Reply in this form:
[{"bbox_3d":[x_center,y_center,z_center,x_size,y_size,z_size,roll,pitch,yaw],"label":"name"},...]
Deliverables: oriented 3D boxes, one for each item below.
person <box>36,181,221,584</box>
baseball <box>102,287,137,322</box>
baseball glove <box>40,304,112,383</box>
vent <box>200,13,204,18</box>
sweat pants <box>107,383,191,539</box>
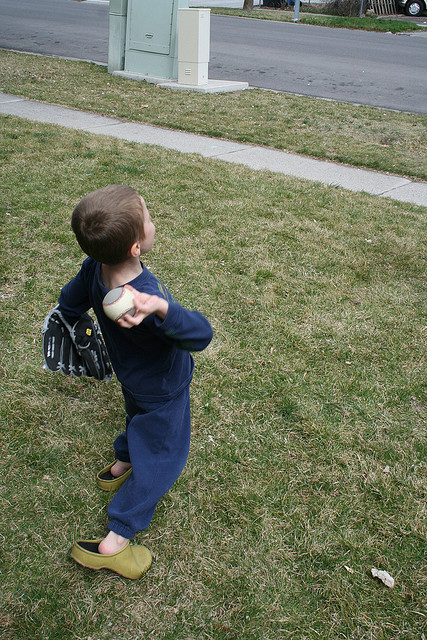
[{"bbox_3d":[-0.271,0.217,1.923,0.451,1.357,0.844,-10,33,-27],"label":"person"},{"bbox_3d":[-0.244,-0.044,1.428,0.078,0.090,0.086,29,17,-9],"label":"baseball"},{"bbox_3d":[-0.583,0.109,2.382,0.159,0.402,0.350,8,14,14],"label":"baseball glove"},{"bbox_3d":[-0.223,-5.481,10.013,0.061,0.061,0.015,-4,24,-24],"label":"vent"},{"bbox_3d":[-0.225,0.486,1.955,0.273,0.520,0.245,3,14,-5],"label":"sweat pants"}]
